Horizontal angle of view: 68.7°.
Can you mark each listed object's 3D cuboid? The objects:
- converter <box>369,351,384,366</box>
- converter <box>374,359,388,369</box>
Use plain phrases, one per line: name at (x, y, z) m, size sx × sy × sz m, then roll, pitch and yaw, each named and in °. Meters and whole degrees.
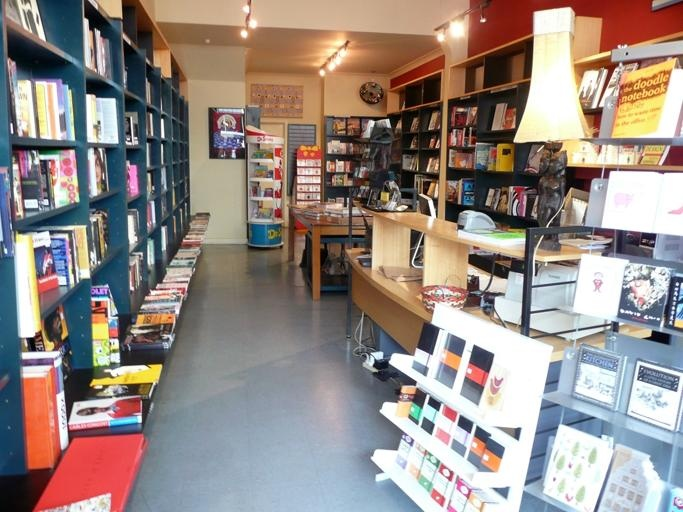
converter at (0.296, 0.857, 4.183) m, size 0.103 × 0.039 × 0.079 m, roll 0°, pitch 1°, yaw -41°
converter at (0.343, 0.892, 4.102) m, size 0.086 × 0.060 × 0.070 m, roll -2°, pitch 10°, yaw -19°
